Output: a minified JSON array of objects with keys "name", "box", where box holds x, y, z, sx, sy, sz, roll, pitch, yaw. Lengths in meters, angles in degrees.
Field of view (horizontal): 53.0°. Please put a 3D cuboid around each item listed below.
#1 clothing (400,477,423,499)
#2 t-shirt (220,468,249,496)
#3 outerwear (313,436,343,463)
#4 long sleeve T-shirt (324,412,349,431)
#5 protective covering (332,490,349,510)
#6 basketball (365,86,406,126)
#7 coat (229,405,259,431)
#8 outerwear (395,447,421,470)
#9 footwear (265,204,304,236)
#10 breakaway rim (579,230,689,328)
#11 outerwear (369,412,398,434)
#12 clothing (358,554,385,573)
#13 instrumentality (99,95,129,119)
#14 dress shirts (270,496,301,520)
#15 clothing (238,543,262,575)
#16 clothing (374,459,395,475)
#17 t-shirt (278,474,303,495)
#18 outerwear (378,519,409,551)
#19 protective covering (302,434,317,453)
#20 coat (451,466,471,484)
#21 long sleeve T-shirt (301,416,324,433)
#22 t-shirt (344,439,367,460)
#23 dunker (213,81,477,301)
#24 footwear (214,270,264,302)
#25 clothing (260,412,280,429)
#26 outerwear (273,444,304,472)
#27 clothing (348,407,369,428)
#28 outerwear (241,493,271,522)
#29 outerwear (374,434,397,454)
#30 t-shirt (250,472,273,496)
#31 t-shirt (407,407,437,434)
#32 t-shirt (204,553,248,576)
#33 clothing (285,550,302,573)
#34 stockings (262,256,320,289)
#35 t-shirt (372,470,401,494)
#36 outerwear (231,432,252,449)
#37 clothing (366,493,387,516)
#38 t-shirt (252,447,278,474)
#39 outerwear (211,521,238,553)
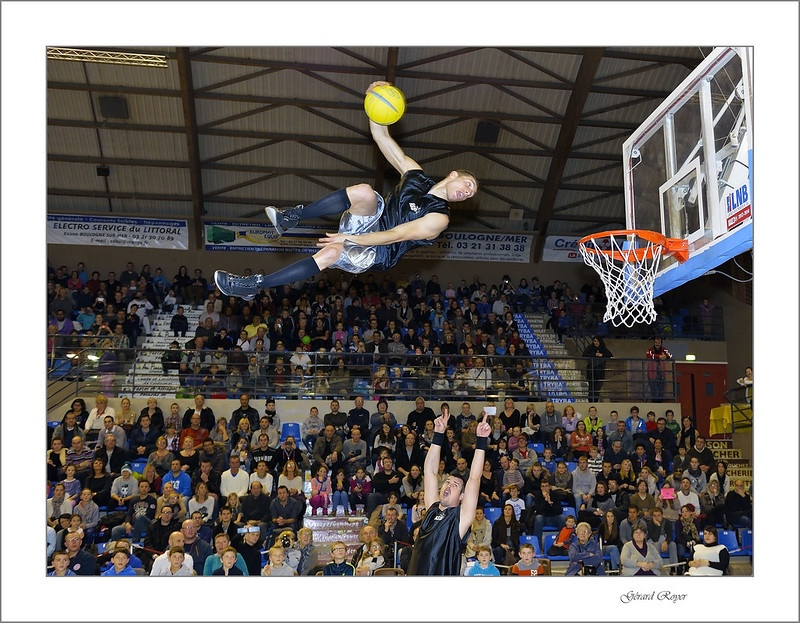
[{"name":"clothing","box":[0.233,3.333,15.132,0.286,0.455,0.437,10,-15,1]},{"name":"t-shirt","box":[-3.022,3.177,14.805,0.531,0.412,0.450,-3,15,-12]},{"name":"outerwear","box":[-1.460,2.769,16.232,0.540,0.696,0.492,7,-13,-2]},{"name":"long sleeve T-shirt","box":[-1.361,2.331,17.057,0.498,0.324,0.581,1,15,1]},{"name":"protective covering","box":[-1.124,3.631,15.267,0.210,0.403,0.141,-1,-3,6]},{"name":"basketball","box":[-0.175,-2.659,10.426,0.481,0.519,0.300,-11,4,1]},{"name":"coat","box":[-3.224,2.246,17.031,0.613,0.669,0.380,3,-34,-6]},{"name":"outerwear","box":[0.162,2.915,15.824,0.581,0.624,0.329,4,-18,-14]},{"name":"footwear","box":[-1.482,-1.166,10.415,0.448,0.406,0.504,-3,15,-10]},{"name":"breakaway rim","box":[3.341,-0.625,12.303,1.206,1.767,0.879,4,-4,-6]},{"name":"outerwear","box":[-0.358,2.362,17.264,0.493,0.608,0.369,7,-20,-4]},{"name":"clothing","box":[-0.448,4.131,13.115,0.292,0.137,0.245,-6,-8,-29]},{"name":"instrumentality","box":[-8.169,-5.889,23.199,0.831,0.699,0.802,-2,15,-8]},{"name":"dress shirts","box":[-2.053,3.547,14.434,0.325,0.321,0.429,0,-8,-3]},{"name":"clothing","box":[-2.497,4.143,13.360,0.437,0.625,0.320,0,-7,-13]},{"name":"clothing","box":[-0.289,3.074,15.333,0.429,0.288,0.306,1,-11,0]},{"name":"t-shirt","box":[-1.995,3.242,14.929,0.309,0.320,0.320,4,-29,-8]},{"name":"outerwear","box":[-0.056,3.933,14.150,0.575,0.676,0.373,-1,-33,9]},{"name":"protective covering","box":[-1.872,2.742,16.760,0.250,0.454,0.223,-3,-19,14]},{"name":"coat","box":[1.164,3.084,15.393,0.288,0.323,0.571,-2,16,-9]},{"name":"long sleeve T-shirt","box":[-1.834,2.430,17.103,0.399,0.222,0.550,0,0,-4]},{"name":"t-shirt","box":[-0.906,2.804,16.263,0.525,0.571,0.313,3,-19,-7]},{"name":"dunker","box":[-0.701,-1.345,10.341,3.736,1.533,1.981,-23,48,-28]},{"name":"footwear","box":[-2.050,-0.341,10.380,0.585,0.438,0.544,-2,15,-9]},{"name":"clothing","box":[-2.747,2.346,17.284,0.466,0.533,0.287,1,-5,-10]},{"name":"outerwear","box":[-2.149,2.891,15.745,0.561,0.461,0.358,-7,16,-24]},{"name":"clothing","box":[-0.832,2.303,17.210,0.435,0.603,0.353,1,-25,2]},{"name":"outerwear","box":[-2.506,3.539,14.446,0.563,0.610,0.391,2,-21,-7]},{"name":"outerwear","box":[-0.237,2.693,16.293,0.326,0.590,0.351,3,-19,-2]},{"name":"t-shirt","box":[-2.476,3.191,14.869,0.477,0.622,0.330,3,-11,-12]},{"name":"t-shirt","box":[0.428,2.317,17.139,0.676,0.367,0.663,-7,17,-25]},{"name":"t-shirt","box":[-2.805,4.093,12.930,0.578,0.459,0.303,0,-4,-3]},{"name":"clothing","box":[-1.752,4.130,13.361,0.233,0.317,0.314,4,-16,-9]},{"name":"stockings","box":[-1.435,-0.506,10.306,0.685,0.438,0.804,-5,16,-20]},{"name":"t-shirt","box":[-0.235,3.231,15.138,0.591,0.476,0.375,2,-24,0]},{"name":"outerwear","box":[-3.209,2.640,16.298,0.273,0.169,0.387,0,-1,1]},{"name":"clothing","box":[-0.431,3.615,14.979,0.381,0.368,0.323,-1,15,-4]},{"name":"t-shirt","box":[-2.593,2.879,15.703,0.610,0.641,0.363,0,-13,1]},{"name":"outerwear","box":[-2.980,3.904,13.803,0.417,0.486,0.254,0,-9,-4]}]
